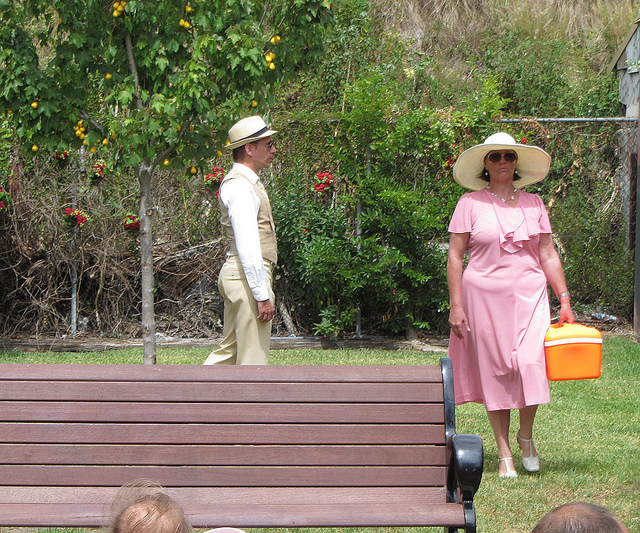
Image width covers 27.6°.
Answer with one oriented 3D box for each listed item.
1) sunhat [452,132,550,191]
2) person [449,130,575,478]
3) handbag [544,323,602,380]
[{"bbox_3d":[1.422,-0.785,10.270,0.697,0.481,0.513,2,9,-3],"label":"sunhat"},{"bbox_3d":[1.450,0.280,10.091,0.942,2.076,0.490,-4,-2,5],"label":"person"},{"bbox_3d":[1.927,0.643,9.930,0.428,0.379,0.413,-1,2,5],"label":"handbag"}]
